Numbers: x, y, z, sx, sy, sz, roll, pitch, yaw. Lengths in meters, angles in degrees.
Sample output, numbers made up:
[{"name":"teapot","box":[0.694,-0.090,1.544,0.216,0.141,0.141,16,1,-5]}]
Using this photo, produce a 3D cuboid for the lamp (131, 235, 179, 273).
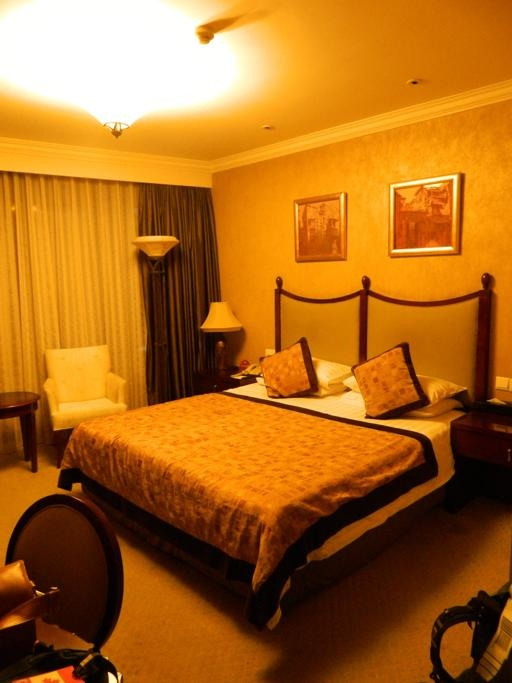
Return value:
[{"name":"lamp","box":[-0.899,-0.758,4.858,0.374,0.311,0.379,1,6,15]}]

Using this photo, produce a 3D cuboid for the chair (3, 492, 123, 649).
[{"name":"chair","box":[-0.500,0.579,1.385,0.159,0.347,0.452,-8,10,-41]}]

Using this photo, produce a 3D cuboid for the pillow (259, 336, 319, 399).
[{"name":"pillow","box":[0.214,0.203,4.057,0.444,0.470,0.136,-4,35,-7]}]

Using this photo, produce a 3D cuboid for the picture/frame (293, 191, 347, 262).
[{"name":"picture/frame","box":[0.544,-0.959,4.396,0.043,0.599,0.597,-9,12,-42]}]

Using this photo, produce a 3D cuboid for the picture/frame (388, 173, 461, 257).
[{"name":"picture/frame","box":[1.175,-0.877,3.656,0.042,0.601,0.593,-9,12,-39]}]

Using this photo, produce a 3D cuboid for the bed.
[{"name":"bed","box":[0.190,0.386,3.337,1.641,1.194,2.224,7,12,35]}]

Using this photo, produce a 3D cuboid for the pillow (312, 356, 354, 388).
[{"name":"pillow","box":[0.574,0.231,4.011,0.197,0.056,0.211,-10,16,-43]}]
